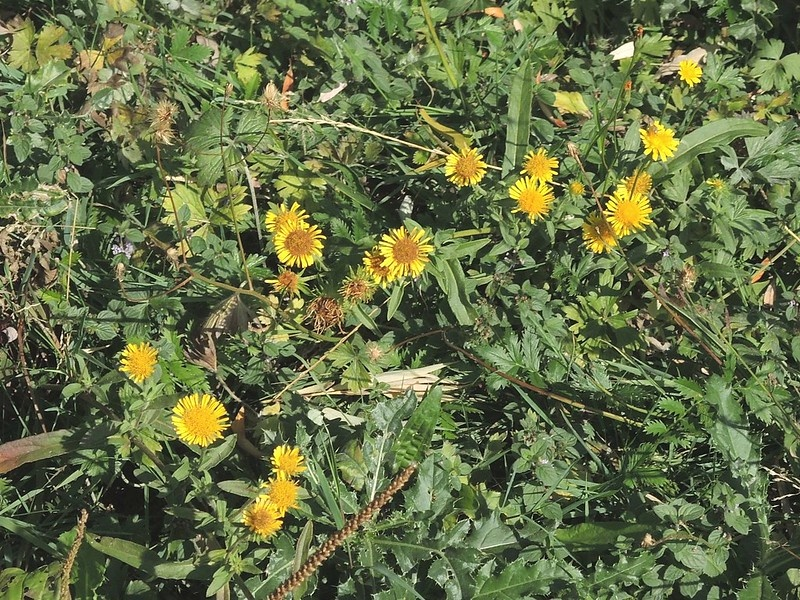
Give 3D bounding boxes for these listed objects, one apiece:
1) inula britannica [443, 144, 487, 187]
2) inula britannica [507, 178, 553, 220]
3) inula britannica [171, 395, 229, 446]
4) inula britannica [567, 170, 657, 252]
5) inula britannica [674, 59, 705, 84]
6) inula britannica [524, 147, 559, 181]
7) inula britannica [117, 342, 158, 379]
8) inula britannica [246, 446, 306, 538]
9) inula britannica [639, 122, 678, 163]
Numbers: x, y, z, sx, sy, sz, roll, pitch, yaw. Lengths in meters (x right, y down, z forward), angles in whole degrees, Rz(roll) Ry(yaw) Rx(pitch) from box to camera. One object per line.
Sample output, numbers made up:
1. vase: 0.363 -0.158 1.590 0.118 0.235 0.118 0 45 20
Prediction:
1. inula britannica: 0.298 -0.608 3.566 0.172 0.181 0.192 9 54 -8
2. inula britannica: 0.598 -0.498 3.521 0.186 0.073 0.203 11 40 34
3. inula britannica: -0.861 0.503 3.247 0.226 0.083 0.220 16 17 13
4. inula britannica: 1.019 -0.415 3.579 0.274 0.131 0.414 18 93 -9
5. inula britannica: 1.416 -1.114 3.781 0.162 0.047 0.162 -18 44 -30
6. inula britannica: 0.646 -0.612 3.551 0.154 0.065 0.168 6 58 -10
7. inula britannica: -1.167 0.242 3.358 0.135 0.138 0.055 24 50 -31
8. inula britannica: -0.511 0.799 3.209 0.212 0.162 0.400 25 84 4
9. inula britannica: 1.204 -0.747 3.524 0.184 0.056 0.198 10 74 -17
